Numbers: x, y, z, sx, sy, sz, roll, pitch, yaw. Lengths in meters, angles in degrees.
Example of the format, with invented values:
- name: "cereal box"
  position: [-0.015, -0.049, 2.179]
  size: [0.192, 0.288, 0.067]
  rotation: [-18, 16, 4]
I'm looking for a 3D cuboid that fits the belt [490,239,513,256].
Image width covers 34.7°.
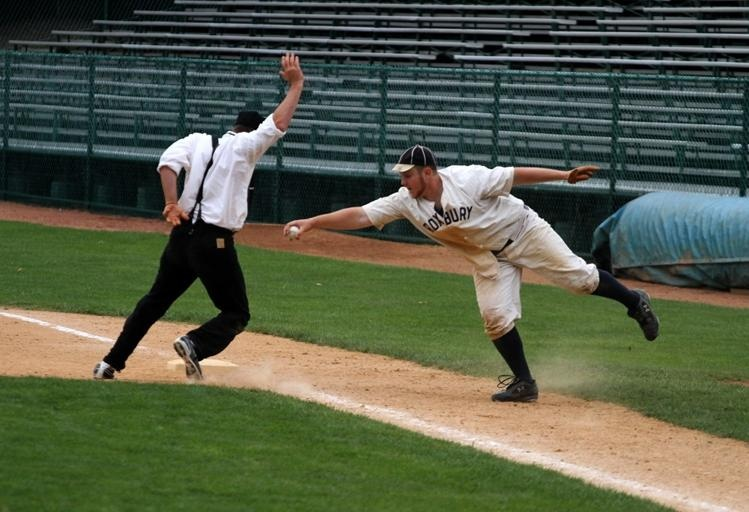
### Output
- name: "belt"
  position: [1.643, -0.118, 15.594]
  size: [0.218, 0.053, 0.217]
  rotation: [-32, 5, -31]

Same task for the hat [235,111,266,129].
- name: "hat"
  position: [-1.620, -1.768, 15.463]
  size: [0.329, 0.238, 0.230]
  rotation: [7, 10, -2]

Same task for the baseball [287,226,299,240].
- name: "baseball"
  position: [-1.012, -0.286, 14.837]
  size: [0.144, 0.120, 0.151]
  rotation: [3, 11, -1]

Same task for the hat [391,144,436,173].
- name: "hat"
  position: [0.494, -1.262, 15.341]
  size: [0.518, 0.285, 0.345]
  rotation: [-1, 14, -8]
